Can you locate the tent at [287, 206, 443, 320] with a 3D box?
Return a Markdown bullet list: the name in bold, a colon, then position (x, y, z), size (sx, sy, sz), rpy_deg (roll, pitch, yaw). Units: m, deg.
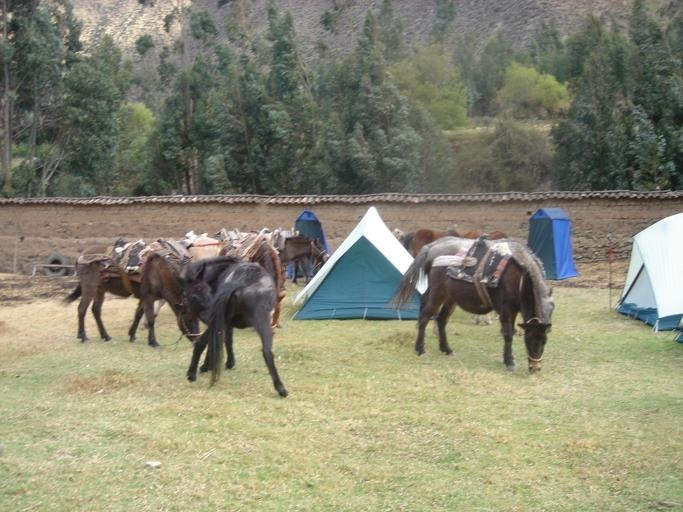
- **tent**: position (0.516, 0.313, 26.872), size (3.702, 2.372, 4.091), rpy_deg (0, 5, -2)
